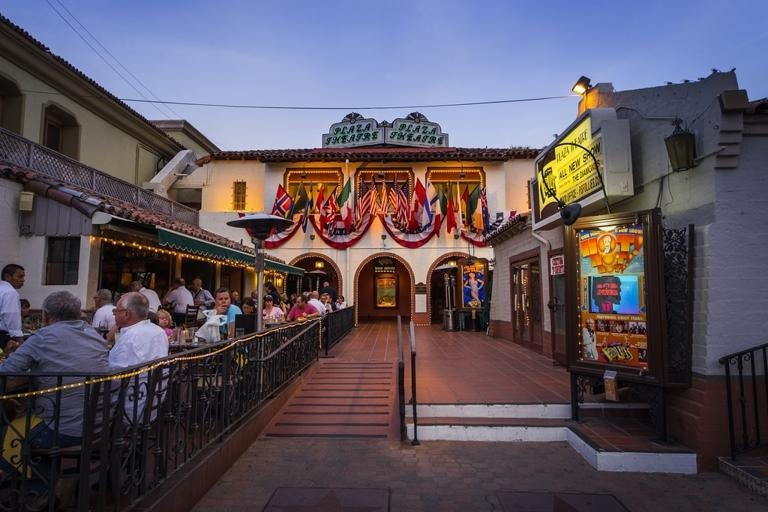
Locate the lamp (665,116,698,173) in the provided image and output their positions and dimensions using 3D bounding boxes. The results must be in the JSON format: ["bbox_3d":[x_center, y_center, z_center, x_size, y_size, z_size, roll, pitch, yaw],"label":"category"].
[{"bbox_3d":[4.635,-1.751,8.352,0.453,0.773,0.223,2,9,13],"label":"lamp"}]

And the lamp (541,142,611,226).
[{"bbox_3d":[3.616,-1.447,10.166,1.282,1.478,3.489,2,9,16],"label":"lamp"}]
